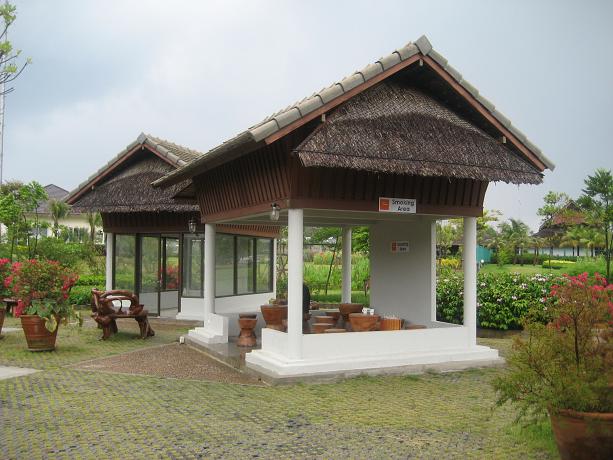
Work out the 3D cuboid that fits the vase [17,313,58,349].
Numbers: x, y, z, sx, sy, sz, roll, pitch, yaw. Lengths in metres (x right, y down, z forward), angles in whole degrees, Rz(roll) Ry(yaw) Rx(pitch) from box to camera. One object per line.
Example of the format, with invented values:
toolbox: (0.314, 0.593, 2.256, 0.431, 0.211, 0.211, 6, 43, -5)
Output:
vase: (-6.900, 2.638, 11.802, 0.953, 0.743, 0.948, 0, -8, -9)
